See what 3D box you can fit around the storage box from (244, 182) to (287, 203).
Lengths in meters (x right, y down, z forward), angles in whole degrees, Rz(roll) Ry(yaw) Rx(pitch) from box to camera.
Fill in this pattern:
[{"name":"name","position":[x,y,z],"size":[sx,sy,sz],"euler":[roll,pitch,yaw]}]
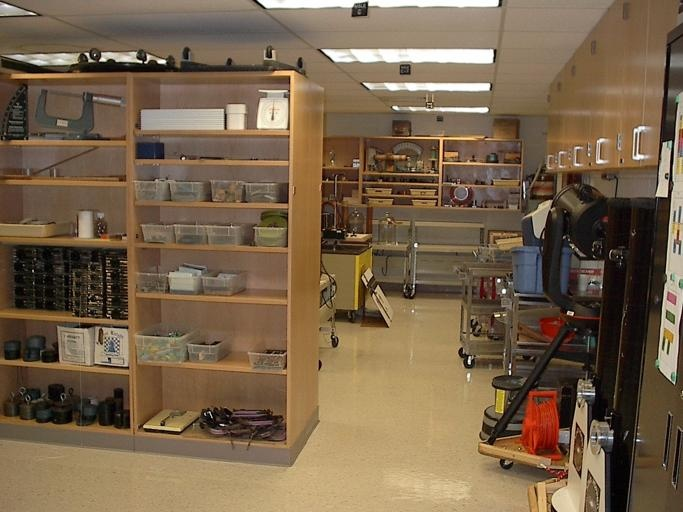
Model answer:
[{"name":"storage box","position":[-0.537,-0.448,4.275],"size":[0.192,0.079,0.250],"euler":[0,1,-1]}]

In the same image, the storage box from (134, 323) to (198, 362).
[{"name":"storage box","position":[-1.282,0.639,4.533],"size":[0.378,0.209,0.406],"euler":[2,9,3]}]

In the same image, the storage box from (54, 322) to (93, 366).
[{"name":"storage box","position":[-1.987,0.665,4.557],"size":[0.393,0.288,0.127],"euler":[2,8,20]}]

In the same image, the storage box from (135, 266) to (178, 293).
[{"name":"storage box","position":[-1.359,0.164,4.444],"size":[0.223,0.104,0.197],"euler":[2,4,9]}]

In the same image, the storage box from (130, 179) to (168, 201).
[{"name":"storage box","position":[-1.363,-0.469,4.339],"size":[0.227,0.089,0.137],"euler":[1,2,5]}]

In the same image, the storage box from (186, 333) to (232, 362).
[{"name":"storage box","position":[-0.968,0.680,4.530],"size":[0.183,0.084,0.249],"euler":[1,6,7]}]

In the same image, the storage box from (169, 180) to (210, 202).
[{"name":"storage box","position":[-1.083,-0.463,4.316],"size":[0.245,0.092,0.163],"euler":[1,4,1]}]

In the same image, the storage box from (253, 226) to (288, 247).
[{"name":"storage box","position":[-0.493,-0.136,4.220],"size":[0.220,0.086,0.133],"euler":[0,5,4]}]

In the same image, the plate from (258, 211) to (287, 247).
[{"name":"plate","position":[-0.486,-0.204,4.324],"size":[0.211,0.118,0.294],"euler":[2,8,3]}]

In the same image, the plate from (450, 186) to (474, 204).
[{"name":"plate","position":[2.033,-1.046,10.434],"size":[0.392,0.344,0.151],"euler":[3,11,7]}]

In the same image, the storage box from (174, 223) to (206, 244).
[{"name":"storage box","position":[-1.071,-0.156,4.340],"size":[0.220,0.081,0.140],"euler":[0,3,-3]}]

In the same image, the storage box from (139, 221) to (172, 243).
[{"name":"storage box","position":[-1.323,-0.167,4.387],"size":[0.244,0.131,0.110],"euler":[5,11,20]}]

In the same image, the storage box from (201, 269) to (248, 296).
[{"name":"storage box","position":[-0.868,0.192,4.457],"size":[0.290,0.137,0.337],"euler":[2,9,2]}]

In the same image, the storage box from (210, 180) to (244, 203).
[{"name":"storage box","position":[-0.808,-0.459,4.296],"size":[0.223,0.108,0.166],"euler":[0,3,3]}]

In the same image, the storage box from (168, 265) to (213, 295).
[{"name":"storage box","position":[-1.108,0.170,4.456],"size":[0.202,0.134,0.252],"euler":[2,5,6]}]

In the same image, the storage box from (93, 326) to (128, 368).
[{"name":"storage box","position":[-1.687,0.670,4.497],"size":[0.373,0.273,0.179],"euler":[2,7,7]}]

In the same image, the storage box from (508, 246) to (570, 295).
[{"name":"storage box","position":[1.578,0.141,5.073],"size":[0.650,0.399,0.473],"euler":[1,-10,-10]}]

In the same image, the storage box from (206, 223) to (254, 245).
[{"name":"storage box","position":[-0.797,-0.159,4.417],"size":[0.263,0.148,0.337],"euler":[5,10,18]}]
